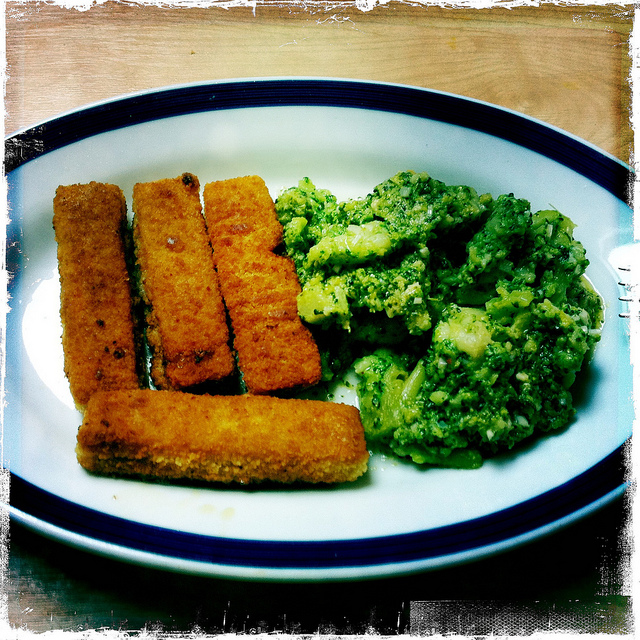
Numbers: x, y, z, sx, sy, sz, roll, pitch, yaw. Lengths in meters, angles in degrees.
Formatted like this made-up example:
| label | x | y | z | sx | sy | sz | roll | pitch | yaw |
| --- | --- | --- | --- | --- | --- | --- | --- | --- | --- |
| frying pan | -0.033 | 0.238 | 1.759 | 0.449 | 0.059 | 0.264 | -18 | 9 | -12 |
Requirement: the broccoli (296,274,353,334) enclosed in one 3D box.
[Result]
| label | x | y | z | sx | sy | sz | roll | pitch | yaw |
| --- | --- | --- | --- | --- | --- | --- | --- | --- | --- |
| broccoli | 0.021 | -0.062 | 2.938 | 0.221 | 0.222 | 0.067 | 20 | 11 | 26 |

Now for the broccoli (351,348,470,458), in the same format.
| label | x | y | z | sx | sy | sz | roll | pitch | yaw |
| --- | --- | --- | --- | --- | --- | --- | --- | --- | --- |
| broccoli | 0.349 | 0.328 | 2.969 | 0.141 | 0.338 | 0.419 | -6 | 72 | -50 |

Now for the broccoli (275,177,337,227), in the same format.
| label | x | y | z | sx | sy | sz | roll | pitch | yaw |
| --- | --- | --- | --- | --- | --- | --- | --- | --- | --- |
| broccoli | -0.102 | -0.542 | 3.182 | 0.239 | 0.106 | 0.275 | -18 | 20 | -17 |

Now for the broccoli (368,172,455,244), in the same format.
| label | x | y | z | sx | sy | sz | roll | pitch | yaw |
| --- | --- | --- | --- | --- | --- | --- | --- | --- | --- |
| broccoli | 0.356 | -0.460 | 2.981 | 0.305 | 0.084 | 0.309 | 36 | 75 | 24 |

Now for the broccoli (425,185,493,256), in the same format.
| label | x | y | z | sx | sy | sz | roll | pitch | yaw |
| --- | --- | --- | --- | --- | --- | --- | --- | --- | --- |
| broccoli | 0.563 | -0.405 | 3.075 | 0.242 | 0.306 | 0.113 | 34 | 10 | -7 |

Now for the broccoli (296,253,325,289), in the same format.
| label | x | y | z | sx | sy | sz | roll | pitch | yaw |
| --- | --- | --- | --- | --- | --- | --- | --- | --- | --- |
| broccoli | -0.046 | -0.192 | 3.070 | 0.096 | 0.125 | 0.034 | 1 | 6 | 34 |
